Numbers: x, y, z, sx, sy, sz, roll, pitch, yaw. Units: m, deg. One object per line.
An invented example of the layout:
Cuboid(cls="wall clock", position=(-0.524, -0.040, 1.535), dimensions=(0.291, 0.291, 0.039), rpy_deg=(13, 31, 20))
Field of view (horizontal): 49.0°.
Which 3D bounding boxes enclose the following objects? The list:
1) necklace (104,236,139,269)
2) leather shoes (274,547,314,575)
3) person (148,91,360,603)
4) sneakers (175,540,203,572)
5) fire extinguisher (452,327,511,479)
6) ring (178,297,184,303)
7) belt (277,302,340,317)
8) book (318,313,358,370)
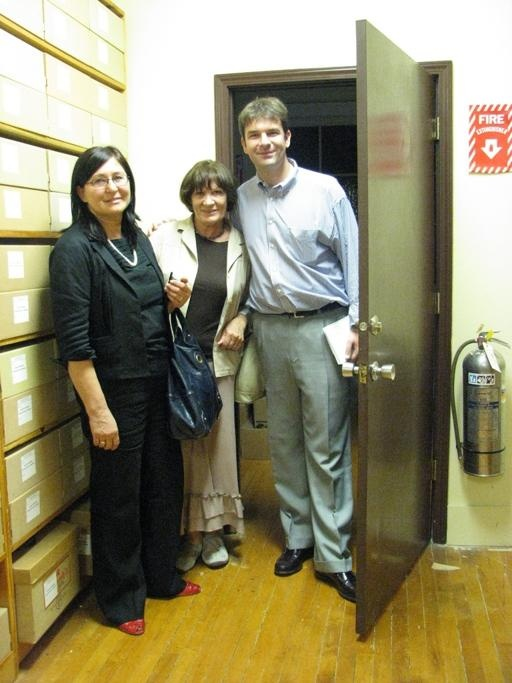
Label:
Cuboid(cls="necklace", position=(-0.401, -0.260, 1.721), dimensions=(0.076, 0.017, 0.099), rpy_deg=(13, 34, -53))
Cuboid(cls="leather shoes", position=(0.147, 0.854, 2.190), dimensions=(0.057, 0.071, 0.157), rpy_deg=(-5, -8, 32))
Cuboid(cls="person", position=(0.076, 0.045, 2.040), dimensions=(0.578, 1.737, 0.509), rpy_deg=(-1, 10, 19))
Cuboid(cls="sneakers", position=(-0.266, 0.825, 2.183), dimensions=(0.052, 0.046, 0.113), rpy_deg=(8, 29, 12))
Cuboid(cls="fire extinguisher", position=(0.877, 0.247, 2.198), dimensions=(0.213, 0.609, 0.146), rpy_deg=(2, 6, 26))
Cuboid(cls="ring", position=(-0.243, -0.135, 1.808), dimensions=(0.010, 0.015, 0.004), rpy_deg=(-3, 12, -2))
Cuboid(cls="belt", position=(0.191, -0.113, 1.985), dimensions=(0.237, 0.052, 0.075), rpy_deg=(0, 5, 9))
Cuboid(cls="book", position=(0.286, -0.001, 1.896), dimensions=(0.130, 0.139, 0.032), rpy_deg=(-22, -13, -17))
